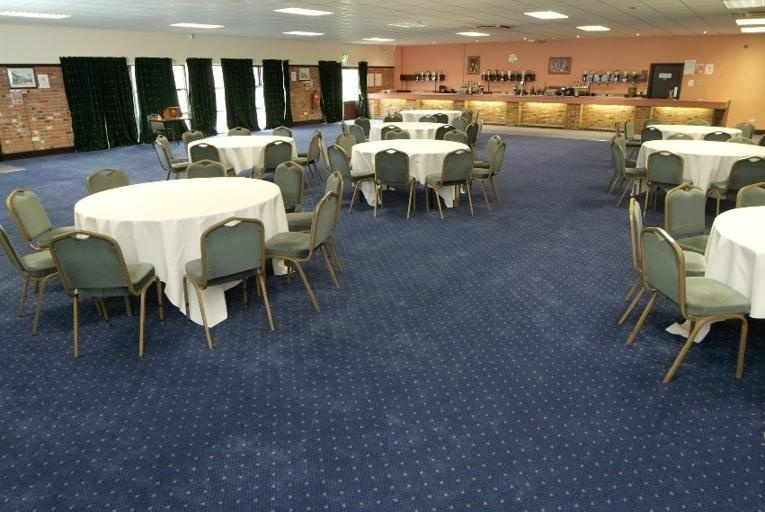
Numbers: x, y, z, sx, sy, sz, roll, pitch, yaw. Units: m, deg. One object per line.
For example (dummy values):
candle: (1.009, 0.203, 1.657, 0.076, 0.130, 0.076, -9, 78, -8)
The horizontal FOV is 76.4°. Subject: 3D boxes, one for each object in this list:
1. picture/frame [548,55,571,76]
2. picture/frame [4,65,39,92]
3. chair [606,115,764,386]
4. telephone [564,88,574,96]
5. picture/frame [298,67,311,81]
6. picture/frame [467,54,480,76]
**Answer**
picture/frame: (5.987, -6.535, 16.436, 0.725, 0.555, 0.056, 12, 26, 37)
picture/frame: (-8.545, -4.245, 11.441, 0.053, 0.598, 0.689, 10, 15, 32)
chair: (2.412, 0.234, 3.901, 0.803, 1.188, 1.013, 1, 22, 11)
telephone: (5.963, -5.329, 15.593, 0.308, 0.234, 0.787, 4, 23, 18)
picture/frame: (-2.850, -6.655, 17.514, 0.053, 0.402, 0.542, 9, 14, 27)
picture/frame: (3.418, -7.293, 18.303, 0.674, 0.845, 0.060, 16, 29, 40)
